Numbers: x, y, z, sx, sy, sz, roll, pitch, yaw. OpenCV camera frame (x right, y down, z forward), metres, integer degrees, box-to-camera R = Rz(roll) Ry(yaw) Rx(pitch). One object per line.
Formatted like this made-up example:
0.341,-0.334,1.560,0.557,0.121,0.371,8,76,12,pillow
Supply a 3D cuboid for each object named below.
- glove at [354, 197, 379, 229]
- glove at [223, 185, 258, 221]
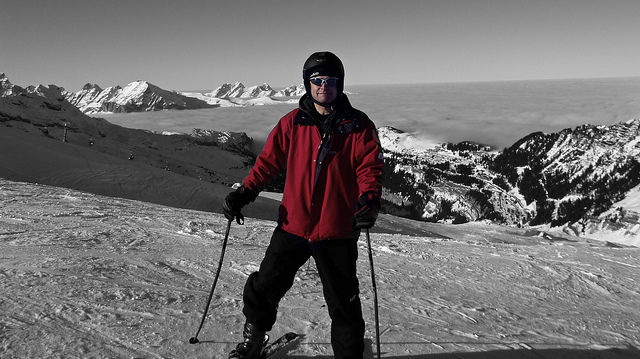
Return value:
0.864,0.659,7.431,0.490,0.539,0.617,-4,-2,13,glove
-1.799,0.459,7.914,0.959,0.339,0.595,-17,5,-14,glove
